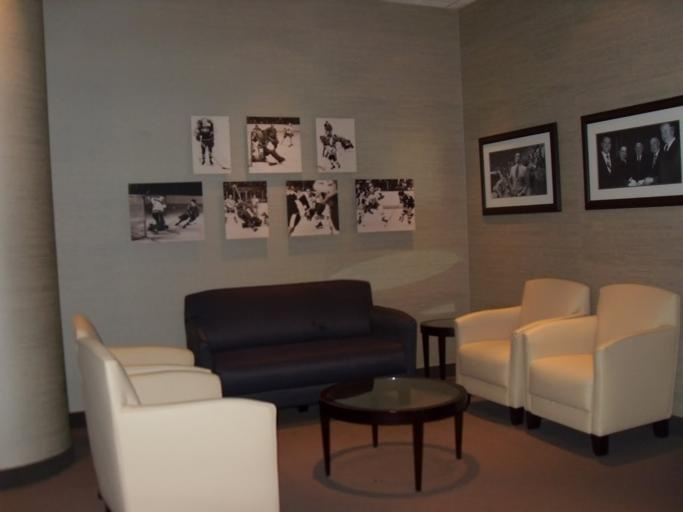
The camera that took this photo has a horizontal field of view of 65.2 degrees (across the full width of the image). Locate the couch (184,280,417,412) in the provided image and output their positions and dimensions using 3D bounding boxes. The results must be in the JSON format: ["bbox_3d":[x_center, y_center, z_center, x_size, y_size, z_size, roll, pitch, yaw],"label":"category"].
[{"bbox_3d":[-0.385,0.854,5.023,2.007,1.053,0.976,-2,7,-20],"label":"couch"}]

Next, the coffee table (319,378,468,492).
[{"bbox_3d":[0.196,1.324,3.758,0.817,0.448,0.836,5,-17,-8],"label":"coffee table"}]

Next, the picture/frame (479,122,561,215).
[{"bbox_3d":[1.841,-0.886,5.604,0.969,0.836,0.035,-11,10,-20],"label":"picture/frame"}]
